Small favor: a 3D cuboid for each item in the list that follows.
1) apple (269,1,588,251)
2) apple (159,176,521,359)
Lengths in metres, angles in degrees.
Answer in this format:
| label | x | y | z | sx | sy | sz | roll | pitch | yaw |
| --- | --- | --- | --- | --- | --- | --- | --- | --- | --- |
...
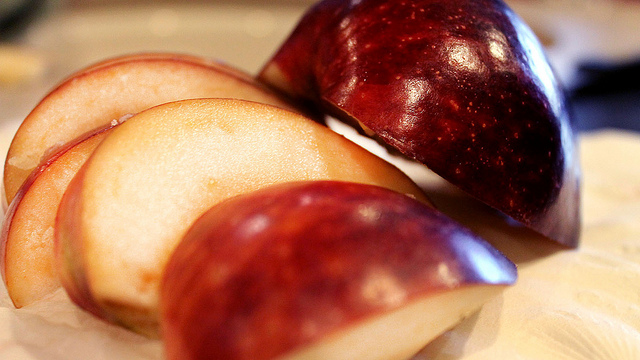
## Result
| label | x | y | z | sx | sy | sz | roll | pitch | yaw |
| --- | --- | --- | --- | --- | --- | --- | --- | --- | --- |
| apple | 0.124 | -0.107 | 0.843 | 0.460 | 0.261 | 0.350 | 13 | 17 | -23 |
| apple | 0.016 | 0.101 | 0.594 | 0.352 | 0.200 | 0.069 | 10 | -14 | 5 |
